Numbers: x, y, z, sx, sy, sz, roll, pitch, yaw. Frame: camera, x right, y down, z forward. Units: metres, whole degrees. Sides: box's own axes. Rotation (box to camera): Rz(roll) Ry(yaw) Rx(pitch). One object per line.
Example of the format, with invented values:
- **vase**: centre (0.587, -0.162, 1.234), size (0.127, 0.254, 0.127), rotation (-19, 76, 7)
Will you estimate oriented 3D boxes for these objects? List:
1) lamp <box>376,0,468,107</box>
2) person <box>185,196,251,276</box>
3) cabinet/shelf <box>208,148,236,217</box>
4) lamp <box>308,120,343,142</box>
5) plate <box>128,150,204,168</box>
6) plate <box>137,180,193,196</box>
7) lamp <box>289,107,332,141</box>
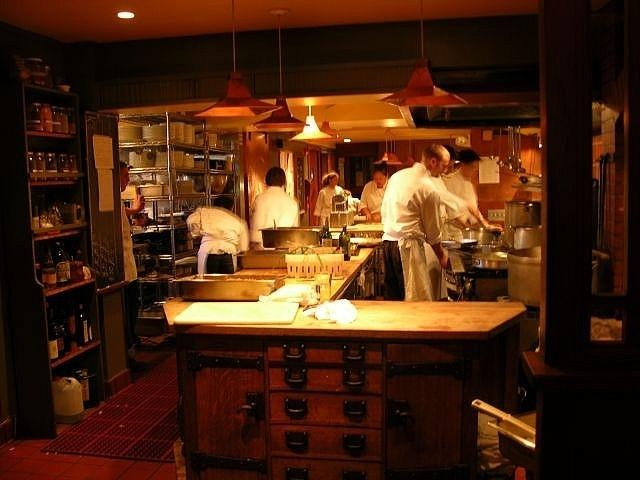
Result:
- **lamp**: centre (0.742, -1.298, 4.015), size (0.491, 0.894, 1.641), rotation (0, 6, 13)
- **person**: centre (-1.146, 0.160, 6.468), size (0.639, 1.454, 0.526), rotation (5, -22, -18)
- **cabinet/shelf**: centre (-1.387, -0.828, 8.129), size (0.321, 1.008, 1.022), rotation (1, 4, 6)
- **lamp**: centre (-0.002, -1.090, 5.776), size (0.420, 0.180, 0.439), rotation (3, 7, 25)
- **plate**: centre (-1.902, -0.986, 7.141), size (0.585, 0.248, 1.071), rotation (-1, 6, 8)
- **plate**: centre (-1.819, -0.622, 6.957), size (0.350, 0.140, 0.287), rotation (-7, 6, -23)
- **lamp**: centre (-0.089, -1.182, 5.647), size (0.384, 0.435, 0.430), rotation (-2, 0, 0)
